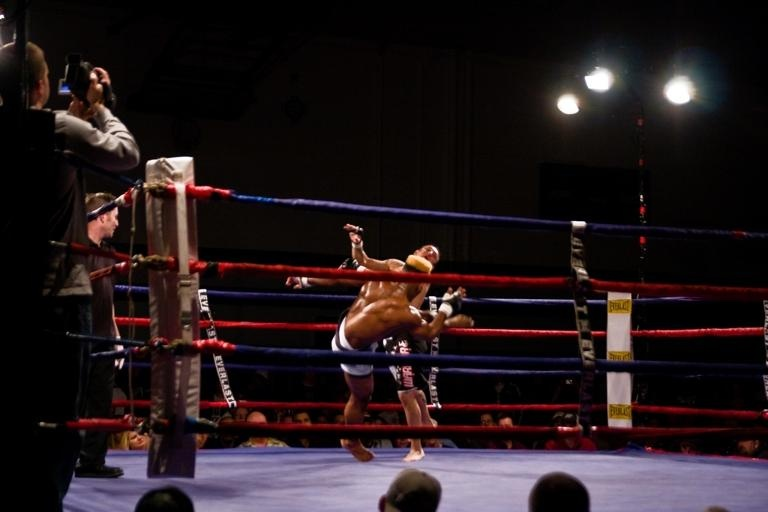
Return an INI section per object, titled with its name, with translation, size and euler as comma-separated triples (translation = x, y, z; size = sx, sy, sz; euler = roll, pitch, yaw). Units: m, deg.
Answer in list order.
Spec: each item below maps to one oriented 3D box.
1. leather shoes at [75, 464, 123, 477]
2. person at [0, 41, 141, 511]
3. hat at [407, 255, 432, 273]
[leather shoes]
translation = -1.981, 1.507, 5.870
size = 0.333, 0.115, 0.111
euler = 1, -10, -9
[person]
translation = -1.863, 0.087, 4.835
size = 0.733, 2.610, 0.362
euler = 2, -2, -36
[hat]
translation = 0.282, 0.073, 6.515
size = 0.163, 0.052, 0.157
euler = 17, 3, 24
